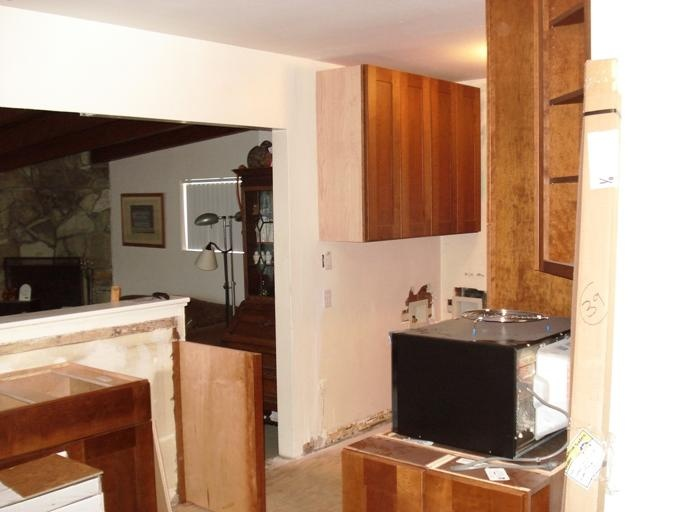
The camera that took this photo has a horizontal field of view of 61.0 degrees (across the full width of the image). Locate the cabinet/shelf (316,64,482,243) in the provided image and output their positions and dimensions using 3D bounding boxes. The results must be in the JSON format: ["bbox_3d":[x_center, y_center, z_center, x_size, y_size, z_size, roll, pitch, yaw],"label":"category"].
[{"bbox_3d":[0.499,-0.756,4.515,1.427,1.208,0.463,-7,10,-44],"label":"cabinet/shelf"}]

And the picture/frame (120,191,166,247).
[{"bbox_3d":[-2.863,-0.538,8.406,0.798,0.827,0.035,-1,1,40],"label":"picture/frame"}]
